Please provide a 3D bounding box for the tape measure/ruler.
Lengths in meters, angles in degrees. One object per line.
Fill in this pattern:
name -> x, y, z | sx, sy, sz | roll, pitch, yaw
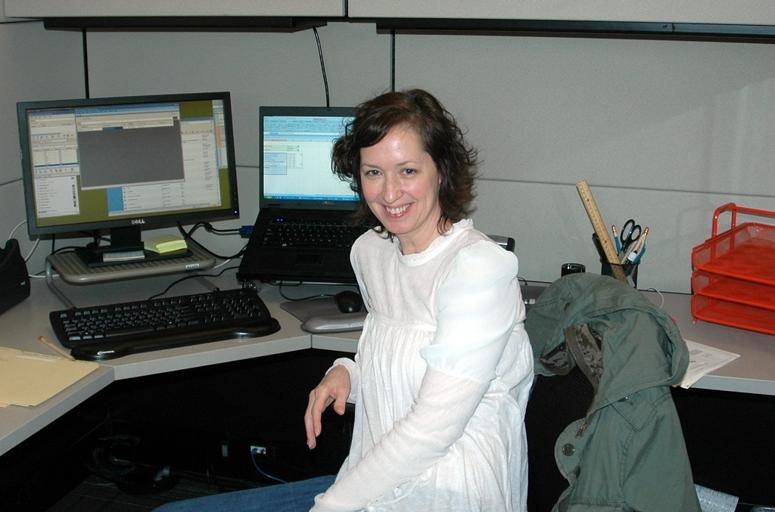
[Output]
tape measure/ruler -> 0.725, -0.100, 2.150 | 0.051, 0.372, 0.027 | -21, 1, -13

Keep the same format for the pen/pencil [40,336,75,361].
pen/pencil -> -0.946, 0.266, 1.842 | 0.135, 0.014, 0.019 | 23, 39, 36

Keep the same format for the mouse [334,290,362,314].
mouse -> -0.120, 0.142, 2.008 | 0.062, 0.026, 0.070 | -7, 39, -5

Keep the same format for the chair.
chair -> 0.263, 0.217, 1.554 | 0.534, 0.677, 0.640 | 5, 10, 34

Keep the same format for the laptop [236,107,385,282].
laptop -> -0.240, -0.230, 2.332 | 0.682, 0.489, 0.562 | 1, 25, 2

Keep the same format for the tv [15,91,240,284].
tv -> -0.921, -0.256, 2.230 | 0.642, 0.493, 0.325 | -6, 15, -25
